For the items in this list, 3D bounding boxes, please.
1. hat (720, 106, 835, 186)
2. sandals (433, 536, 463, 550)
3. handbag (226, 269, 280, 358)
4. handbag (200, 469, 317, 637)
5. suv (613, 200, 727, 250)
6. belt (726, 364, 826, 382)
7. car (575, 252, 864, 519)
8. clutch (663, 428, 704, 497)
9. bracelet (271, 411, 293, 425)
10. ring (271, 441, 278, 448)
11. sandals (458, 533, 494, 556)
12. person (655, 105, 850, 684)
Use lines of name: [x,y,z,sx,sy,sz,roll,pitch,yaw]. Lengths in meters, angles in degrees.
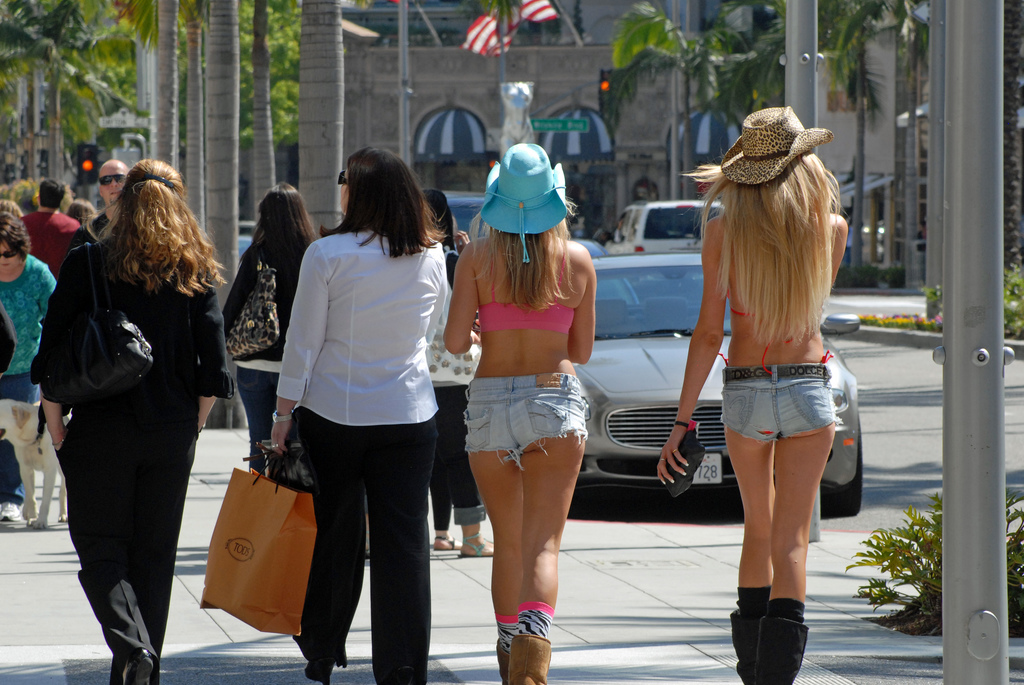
hat: [1.715,-1.286,14.755,0.598,0.239,0.495,-39,26,-18]
sandals: [-0.525,1.608,17.995,0.091,0.109,0.257,3,3,33]
handbag: [-1.895,-0.202,16.305,0.191,0.679,0.491,14,0,-33]
handbag: [-1.683,1.443,15.051,0.871,1.105,0.399,20,9,20]
suv: [2.557,-1.980,39.499,1.150,0.989,2.219,-1,6,-4]
belt: [1.774,0.201,14.727,0.610,0.100,0.089,-2,4,2]
car: [1.519,0.424,16.875,1.938,1.644,4.458,0,-2,-1]
clutch: [1.212,0.830,14.875,0.104,0.460,0.263,12,18,-28]
bracelet: [-1.554,0.514,15.008,0.099,0.075,0.107,1,-5,-7]
ring: [-1.598,0.684,14.951,0.064,0.052,0.025,1,5,26]
sandals: [-0.261,1.608,17.833,0.349,0.169,0.121,-3,4,-40]
person: [1.674,0.363,14.744,1.095,3.758,0.801,-1,4,9]
